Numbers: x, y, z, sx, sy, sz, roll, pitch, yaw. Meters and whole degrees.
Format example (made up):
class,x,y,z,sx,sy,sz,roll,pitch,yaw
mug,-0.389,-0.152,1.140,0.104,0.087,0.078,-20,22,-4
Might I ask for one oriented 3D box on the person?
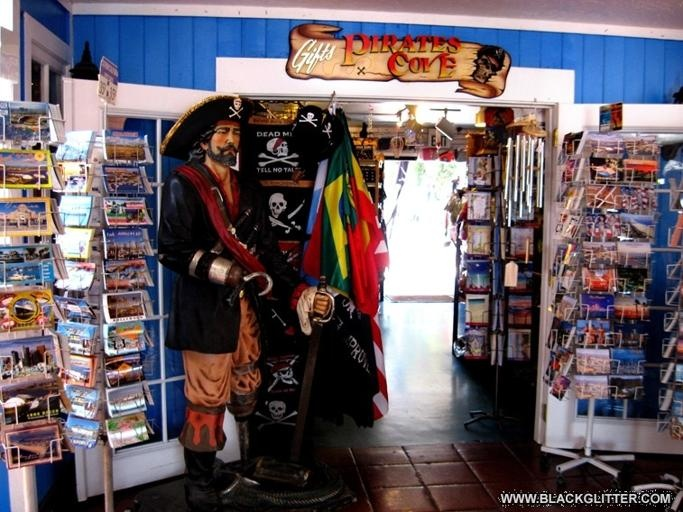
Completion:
class,x,y,z,sx,sy,sz,roll,pitch,yaw
person,-0.595,0.264,3.631,0.837,2.313,0.605,-2,6,-16
